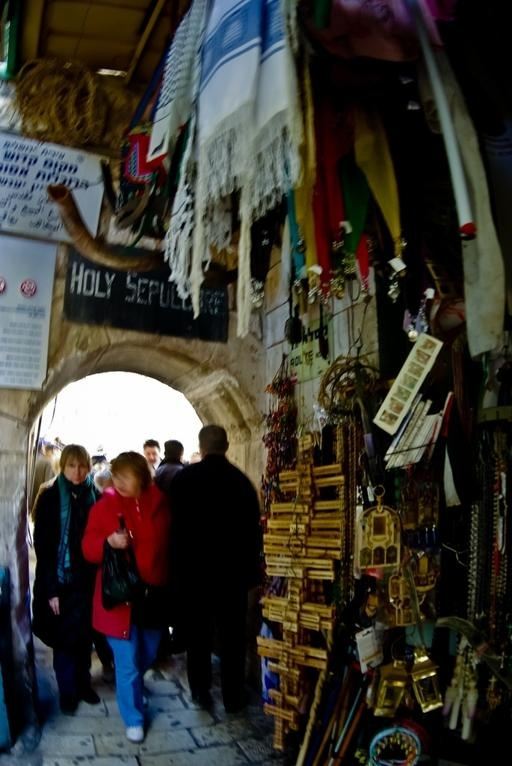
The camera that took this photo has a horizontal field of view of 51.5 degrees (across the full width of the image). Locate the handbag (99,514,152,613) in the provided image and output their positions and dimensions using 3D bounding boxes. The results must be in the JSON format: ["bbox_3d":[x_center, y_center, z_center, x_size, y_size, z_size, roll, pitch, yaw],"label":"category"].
[{"bbox_3d":[-0.680,0.843,2.632,0.195,0.581,0.143,-7,29,-20],"label":"handbag"}]

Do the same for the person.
[{"bbox_3d":[-0.601,1.112,2.834,1.118,1.880,0.548,2,-12,-31],"label":"person"}]

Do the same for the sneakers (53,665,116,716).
[{"bbox_3d":[-0.857,1.509,2.718,0.159,0.305,0.239,-23,-23,-12],"label":"sneakers"}]
